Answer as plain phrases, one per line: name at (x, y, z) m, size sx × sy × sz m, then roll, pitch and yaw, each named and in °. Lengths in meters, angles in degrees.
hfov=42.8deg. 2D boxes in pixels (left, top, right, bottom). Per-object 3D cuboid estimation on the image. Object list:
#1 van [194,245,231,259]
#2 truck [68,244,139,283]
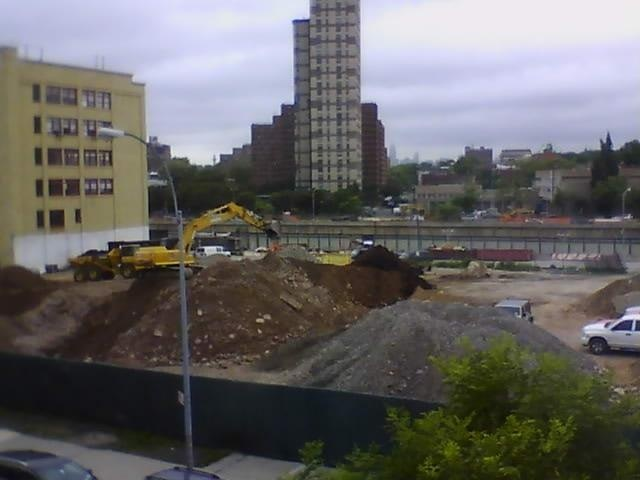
van at (-8.608, 1.267, 66.142) m, size 2.542 × 1.246 × 1.309 m, roll -4°, pitch 7°, yaw -22°
truck at (-13.485, 1.618, 50.859) m, size 3.725 × 2.124 × 2.624 m, roll -4°, pitch -1°, yaw 25°
